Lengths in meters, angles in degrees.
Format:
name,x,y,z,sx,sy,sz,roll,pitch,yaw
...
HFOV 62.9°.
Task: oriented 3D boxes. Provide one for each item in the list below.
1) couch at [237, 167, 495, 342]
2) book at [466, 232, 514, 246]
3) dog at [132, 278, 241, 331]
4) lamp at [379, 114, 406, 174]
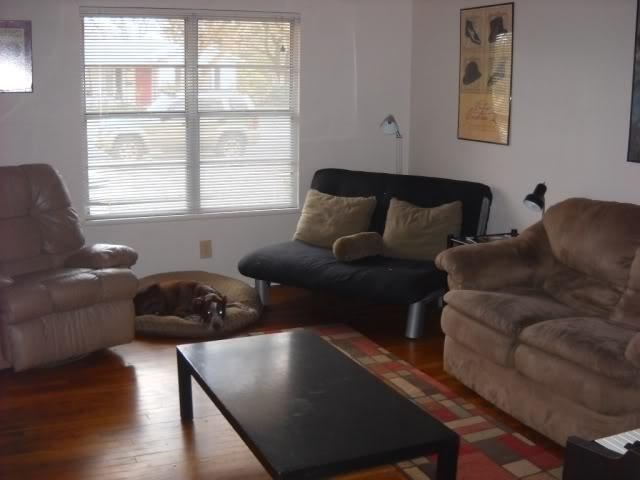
name,x,y,z,sx,sy,sz,roll,pitch,yaw
couch,0.524,0.014,4.315,1.946,1.123,1.409,6,14,35
book,1.301,-0.019,3.978,0.228,0.050,0.205,-5,5,-12
dog,-1.032,0.472,3.982,0.504,0.170,0.371,3,6,23
lamp,0.690,-0.889,4.919,0.224,0.581,0.800,2,14,9
